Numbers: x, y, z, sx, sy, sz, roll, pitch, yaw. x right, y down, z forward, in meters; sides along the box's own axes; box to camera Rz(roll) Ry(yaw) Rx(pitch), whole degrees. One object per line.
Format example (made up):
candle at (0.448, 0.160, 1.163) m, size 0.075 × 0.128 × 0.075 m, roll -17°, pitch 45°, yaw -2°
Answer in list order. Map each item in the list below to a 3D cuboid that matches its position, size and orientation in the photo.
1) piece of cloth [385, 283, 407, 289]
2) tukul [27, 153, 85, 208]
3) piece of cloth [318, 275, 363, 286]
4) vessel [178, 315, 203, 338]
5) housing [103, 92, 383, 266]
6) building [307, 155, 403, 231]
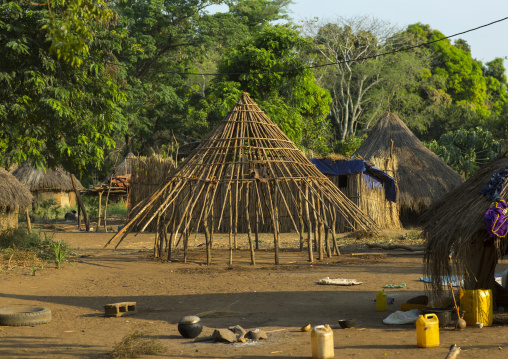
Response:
piece of cloth at (3.329, 2.474, 17.849) m, size 0.533 × 0.116 × 0.409 m, roll -1°, pitch -7°, yaw 3°
tukul at (-9.558, 0.309, 36.701) m, size 3.332 × 1.961 × 3.037 m, roll 1°, pitch 0°, yaw -4°
piece of cloth at (2.077, 2.422, 18.296) m, size 1.065 × 0.188 × 0.558 m, roll -1°, pitch -7°, yaw 7°
vessel at (-1.254, 2.872, 15.004) m, size 0.437 × 0.320 × 0.431 m, roll -1°, pitch 1°, yaw 15°
housing at (-0.476, -0.334, 23.041) m, size 7.147 × 3.498 × 7.126 m, roll -4°, pitch -11°, yaw -7°
building at (3.512, 0.546, 27.616) m, size 2.574 × 2.085 × 3.112 m, roll -3°, pitch -10°, yaw 28°
